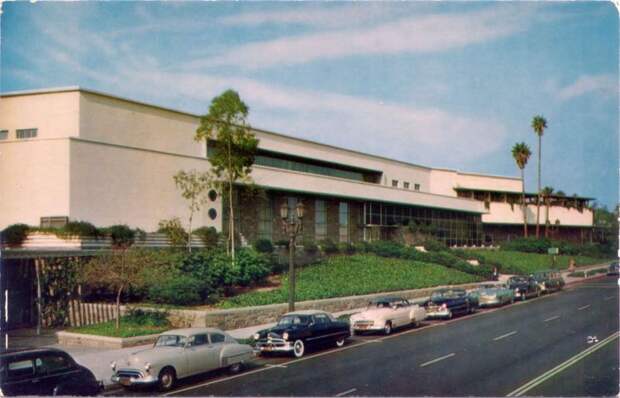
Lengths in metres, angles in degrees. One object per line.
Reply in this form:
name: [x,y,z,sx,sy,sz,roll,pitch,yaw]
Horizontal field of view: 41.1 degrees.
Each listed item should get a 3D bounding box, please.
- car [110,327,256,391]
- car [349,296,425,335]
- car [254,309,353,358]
car: [-7.712,10.011,51.500,7.243,2.647,3.621,3,-8,-40]
car: [5.501,8.472,59.347,5.420,2.634,1.514,0,-9,-27]
car: [-0.429,9.108,54.820,3.793,2.673,8.271,-2,-3,38]
